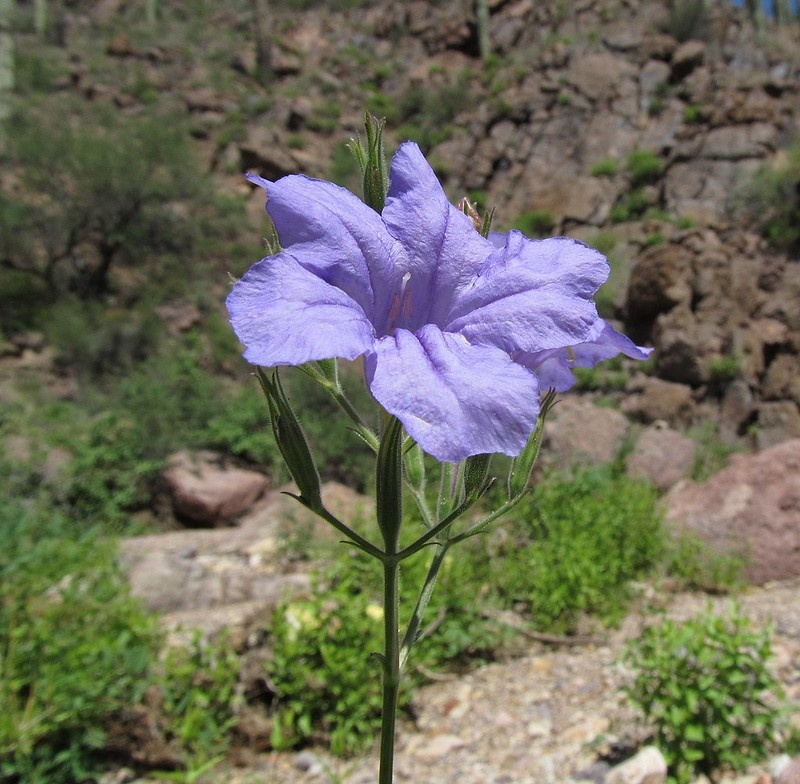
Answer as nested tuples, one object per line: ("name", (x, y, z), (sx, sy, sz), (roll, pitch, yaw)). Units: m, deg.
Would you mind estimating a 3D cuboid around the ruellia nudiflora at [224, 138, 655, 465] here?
("ruellia nudiflora", (0.116, -0.265, 3.162), (1.392, 1.106, 0.930), (-12, 26, -11))
